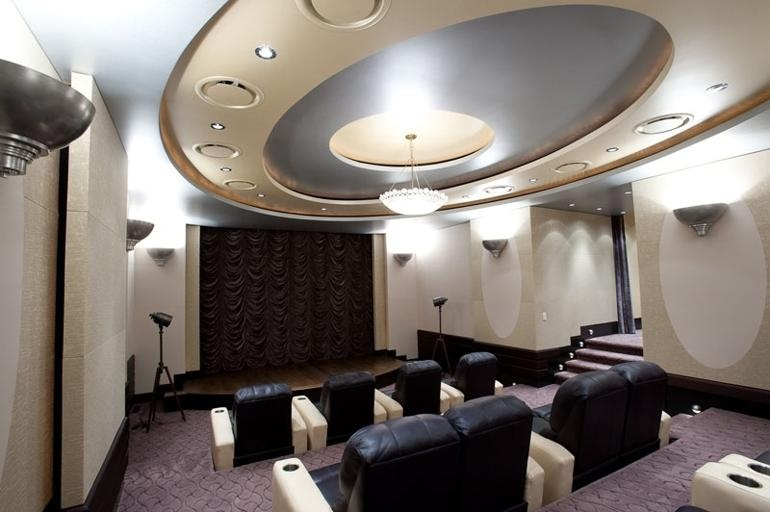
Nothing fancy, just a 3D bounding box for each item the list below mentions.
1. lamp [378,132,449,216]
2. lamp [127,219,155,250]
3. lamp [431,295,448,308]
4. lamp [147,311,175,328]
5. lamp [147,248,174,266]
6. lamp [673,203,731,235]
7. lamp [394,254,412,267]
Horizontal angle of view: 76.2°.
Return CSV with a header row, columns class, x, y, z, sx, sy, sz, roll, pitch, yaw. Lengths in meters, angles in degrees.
class,x,y,z,sx,sy,sz,roll,pitch,yaw
lamp,0.370,-0.994,7.166,1.035,1.197,1.027,5,-11,-36
lamp,-3.597,-0.320,7.160,0.418,0.325,0.431,-1,-6,-7
lamp,1.074,0.911,9.851,0.302,0.300,0.232,4,3,36
lamp,-3.583,1.008,7.781,0.364,0.215,0.267,16,-3,-4
lamp,-3.880,0.007,8.480,0.323,0.239,0.314,-3,-20,2
lamp,4.138,-0.520,6.423,0.424,0.289,0.406,-3,-8,8
lamp,0.401,0.109,11.043,0.281,0.188,0.287,1,-7,-8
